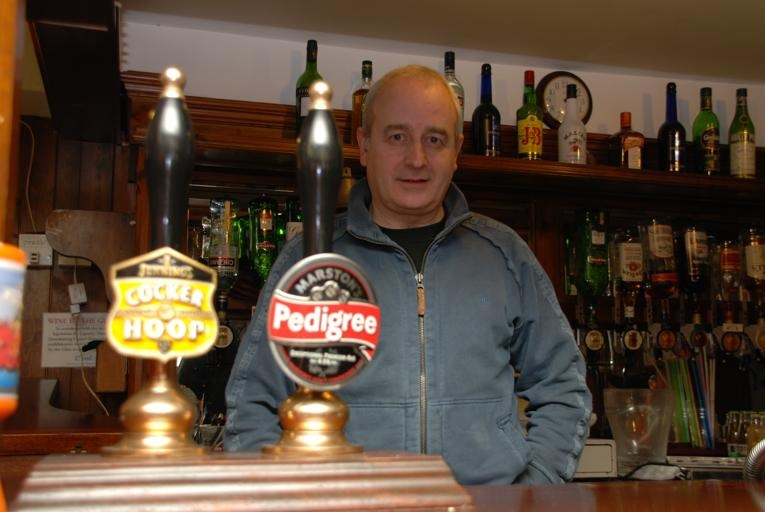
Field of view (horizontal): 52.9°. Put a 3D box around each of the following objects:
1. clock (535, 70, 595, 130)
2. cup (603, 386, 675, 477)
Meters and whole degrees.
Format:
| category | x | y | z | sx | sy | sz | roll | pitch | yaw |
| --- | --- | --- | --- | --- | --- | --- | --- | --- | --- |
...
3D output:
| category | x | y | z | sx | sy | sz | roll | pitch | yaw |
| --- | --- | --- | --- | --- | --- | --- | --- | --- | --- |
| clock | 0.846 | -0.746 | 3.611 | 0.280 | 0.280 | 0.065 | -15 | 1 | -27 |
| cup | 1.087 | 0.718 | 3.216 | 0.343 | 0.437 | 0.330 | -1 | 0 | 0 |
